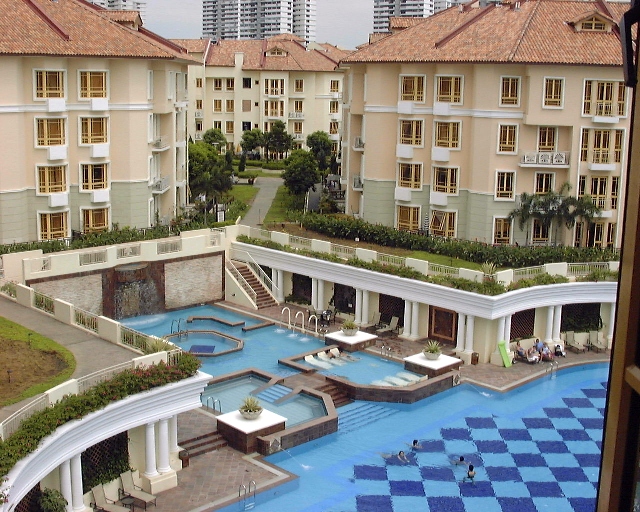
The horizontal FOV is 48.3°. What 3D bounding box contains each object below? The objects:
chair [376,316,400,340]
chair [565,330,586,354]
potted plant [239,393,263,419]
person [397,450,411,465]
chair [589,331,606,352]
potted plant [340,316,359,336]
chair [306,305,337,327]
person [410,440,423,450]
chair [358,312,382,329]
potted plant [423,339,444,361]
[{"bbox_3d":[4.128,4.282,43.597,1.374,1.156,0.838,-11,14,-42],"label":"chair"},{"bbox_3d":[15.188,5.058,42.400,0.696,1.189,1.609,-3,12,-8],"label":"chair"},{"bbox_3d":[-3.065,6.670,31.871,0.730,0.706,0.927,0,4,3],"label":"potted plant"},{"bbox_3d":[3.603,8.547,30.793,0.519,0.347,0.929,-1,9,5],"label":"person"},{"bbox_3d":[16.702,5.026,42.800,0.613,1.087,1.424,-2,8,-5],"label":"chair"},{"bbox_3d":[1.746,4.080,41.823,0.743,0.713,0.860,1,5,4],"label":"potted plant"},{"bbox_3d":[0.088,3.782,45.862,1.709,0.965,1.436,0,9,13],"label":"chair"},{"bbox_3d":[4.277,8.260,31.765,0.530,0.373,0.791,-1,9,7],"label":"person"},{"bbox_3d":[3.182,3.925,44.170,1.208,0.912,0.782,-5,8,-42],"label":"chair"},{"bbox_3d":[6.133,5.091,38.814,0.786,0.831,0.967,3,6,15],"label":"potted plant"}]
